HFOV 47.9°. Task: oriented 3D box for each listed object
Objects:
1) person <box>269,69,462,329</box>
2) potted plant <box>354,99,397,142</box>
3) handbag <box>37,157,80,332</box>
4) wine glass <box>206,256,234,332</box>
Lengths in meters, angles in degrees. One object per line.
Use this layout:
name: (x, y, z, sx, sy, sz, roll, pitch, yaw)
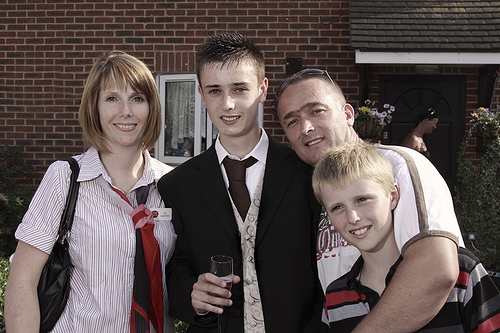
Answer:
person: (0.954, 0.188, 4.619, 0.883, 1.907, 1.549, -5, 12, -22)
potted plant: (1.946, -0.664, 8.775, 0.740, 0.658, 0.725, 3, -4, -19)
handbag: (-1.612, 0.661, 4.795, 0.214, 1.355, 0.553, 3, 12, 18)
wine glass: (-0.233, 1.070, 4.732, 0.263, 0.691, 0.193, -5, 12, -19)
